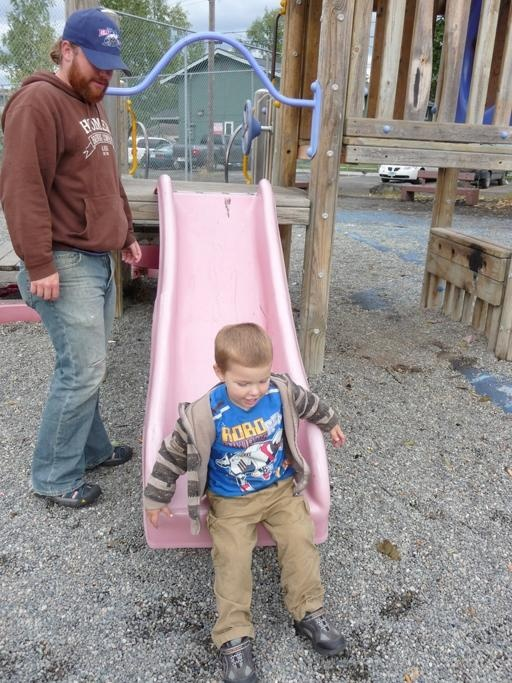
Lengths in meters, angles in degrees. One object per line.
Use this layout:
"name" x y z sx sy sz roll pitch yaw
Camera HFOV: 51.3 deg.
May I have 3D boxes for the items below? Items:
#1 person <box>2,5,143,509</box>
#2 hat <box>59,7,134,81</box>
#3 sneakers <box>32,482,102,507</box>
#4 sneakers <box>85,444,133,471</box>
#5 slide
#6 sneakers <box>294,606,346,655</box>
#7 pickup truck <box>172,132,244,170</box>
"person" -0.620 -0.206 1.841 0.253 1.663 0.485 16 25 32
"hat" -0.511 -0.952 1.676 0.182 0.186 0.224 -3 23 -13
"sneakers" -0.720 0.579 2.043 0.226 0.112 0.097 7 19 -9
"sneakers" -0.631 0.495 2.337 0.192 0.080 0.073 -22 35 -25
"slide" -0.117 -0.150 2.149 0.609 0.384 1.719 0 56 -10
"sneakers" 0.169 0.753 1.424 0.066 0.082 0.168 -10 9 -36
"pickup truck" -0.930 -4.129 11.882 1.074 0.883 3.776 4 23 5
